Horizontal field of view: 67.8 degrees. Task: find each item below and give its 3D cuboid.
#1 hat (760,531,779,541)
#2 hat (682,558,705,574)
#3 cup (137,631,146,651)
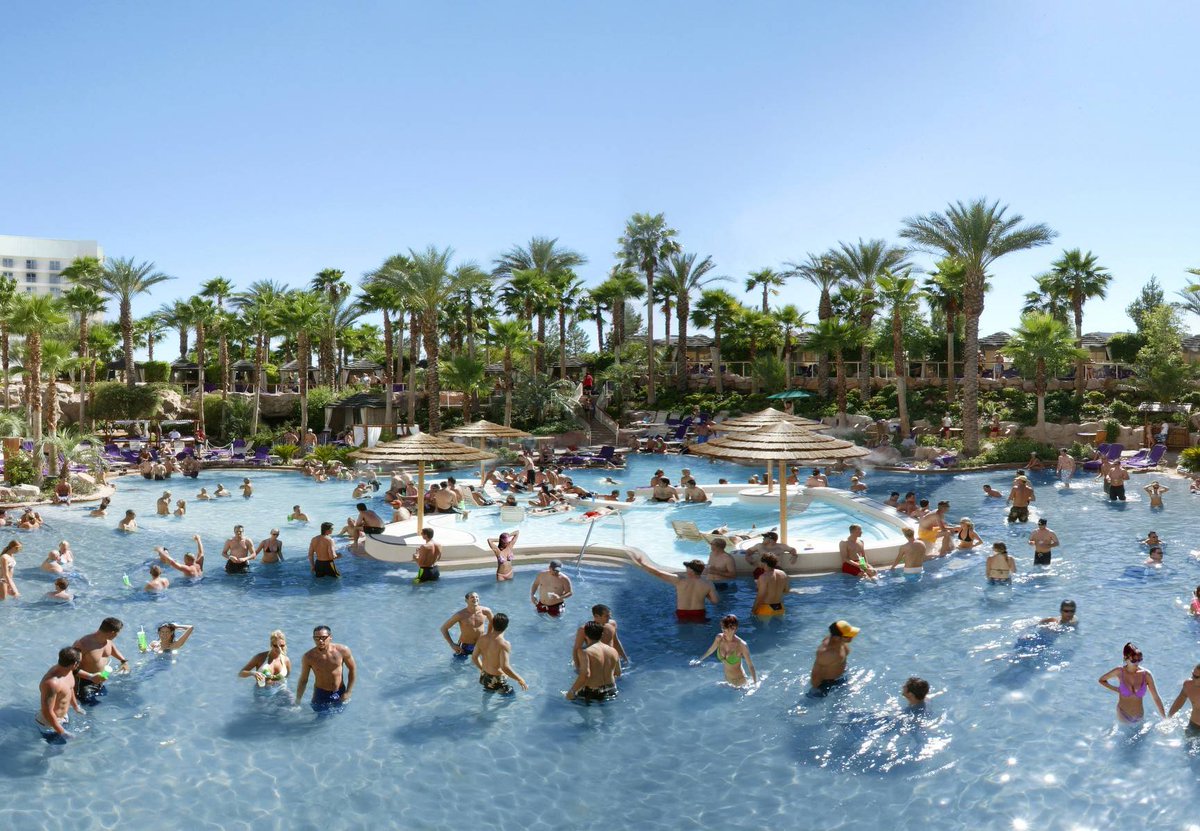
[{"bbox_3d":[3.836,2.700,19.937,0.304,0.295,0.229,18,3,30],"label":"hat"},{"bbox_3d":[1.881,2.998,17.867,0.300,0.183,0.368,0,3,-15],"label":"hat"},{"bbox_3d":[-8.655,4.252,16.793,0.157,0.415,0.126,-14,33,-32],"label":"cup"}]
